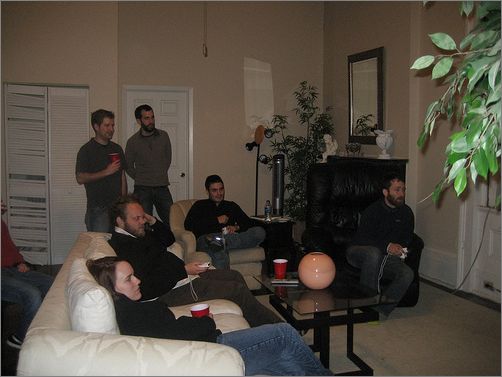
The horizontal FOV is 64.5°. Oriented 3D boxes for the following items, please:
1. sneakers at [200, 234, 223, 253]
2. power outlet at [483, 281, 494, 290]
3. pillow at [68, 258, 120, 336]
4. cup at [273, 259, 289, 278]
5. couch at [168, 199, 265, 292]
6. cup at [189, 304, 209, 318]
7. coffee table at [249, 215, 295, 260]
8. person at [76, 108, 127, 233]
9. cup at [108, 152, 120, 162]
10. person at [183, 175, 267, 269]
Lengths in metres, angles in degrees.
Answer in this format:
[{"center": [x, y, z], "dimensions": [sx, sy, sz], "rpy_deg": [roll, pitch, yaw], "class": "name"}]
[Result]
[{"center": [-0.382, 0.542, 3.949], "dimensions": [0.118, 0.095, 0.264], "rpy_deg": [-5, 8, -34], "class": "sneakers"}, {"center": [2.376, 0.969, 3.959], "dimensions": [0.008, 0.076, 0.108], "rpy_deg": [-4, 9, -24], "class": "power outlet"}, {"center": [-0.727, 0.513, 1.848], "dimensions": [0.098, 0.171, 0.334], "rpy_deg": [-3, 4, -16], "class": "pillow"}, {"center": [0.231, 0.633, 3.150], "dimensions": [0.120, 0.129, 0.127], "rpy_deg": [1, -6, 0], "class": "cup"}, {"center": [-0.425, 0.583, 4.283], "dimensions": [0.802, 0.969, 0.891], "rpy_deg": [-11, 3, -42], "class": "couch"}, {"center": [-0.307, 0.731, 2.376], "dimensions": [0.079, 0.053, 0.082], "rpy_deg": [-1, -7, 0], "class": "cup"}, {"center": [0.251, 0.490, 4.891], "dimensions": [0.470, 0.625, 0.641], "rpy_deg": [0, -1, -14], "class": "coffee table"}, {"center": [-1.465, -0.147, 3.919], "dimensions": [0.482, 1.251, 0.492], "rpy_deg": [-4, 9, -25], "class": "person"}, {"center": [-1.299, -0.290, 3.770], "dimensions": [0.078, 0.090, 0.113], "rpy_deg": [-4, 8, -22], "class": "cup"}, {"center": [-0.318, 0.527, 4.502], "dimensions": [0.829, 1.176, 0.947], "rpy_deg": [8, -28, -26], "class": "person"}]
